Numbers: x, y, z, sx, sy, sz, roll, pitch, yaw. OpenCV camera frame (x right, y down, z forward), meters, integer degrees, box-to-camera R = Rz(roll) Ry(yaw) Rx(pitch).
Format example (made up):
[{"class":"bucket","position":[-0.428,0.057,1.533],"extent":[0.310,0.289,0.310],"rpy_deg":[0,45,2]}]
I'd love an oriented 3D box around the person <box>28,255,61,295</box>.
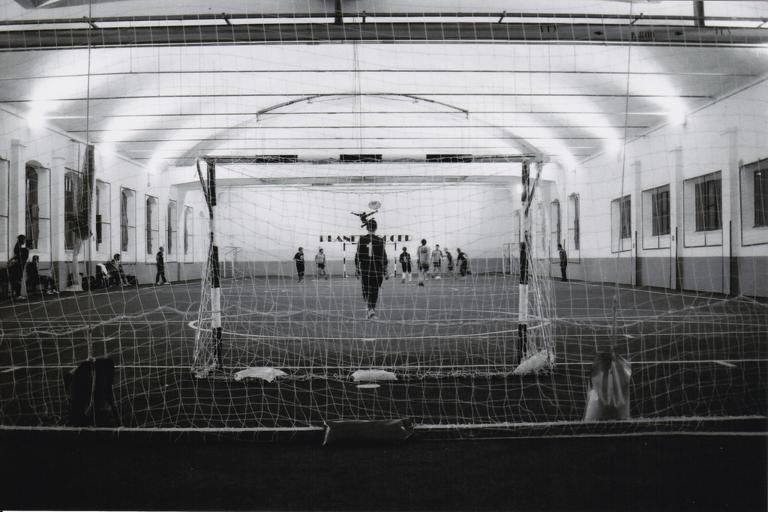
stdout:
[{"class":"person","position":[-8.520,0.481,21.615],"extent":[0.733,0.976,1.517],"rpy_deg":[1,-5,-20]}]

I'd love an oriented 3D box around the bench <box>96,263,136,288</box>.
[{"class":"bench","position":[-7.187,0.497,23.107],"extent":[0.719,0.456,0.713],"rpy_deg":[0,-1,-3]}]
